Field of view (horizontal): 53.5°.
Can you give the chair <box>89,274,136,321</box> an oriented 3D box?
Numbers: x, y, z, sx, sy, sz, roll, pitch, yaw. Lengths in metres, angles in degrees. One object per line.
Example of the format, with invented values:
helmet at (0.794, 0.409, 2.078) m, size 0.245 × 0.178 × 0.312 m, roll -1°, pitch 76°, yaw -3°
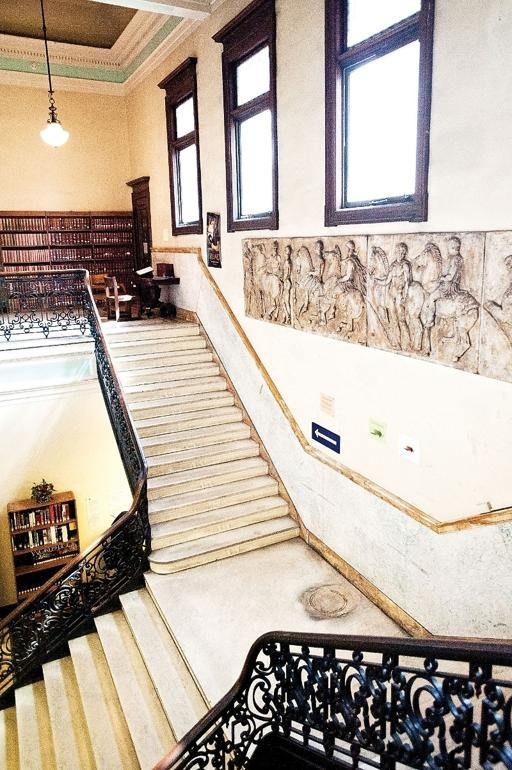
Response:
chair at (-2.842, -1.715, 10.015) m, size 0.402 × 0.768 × 1.180 m, roll -10°, pitch 30°, yaw -21°
